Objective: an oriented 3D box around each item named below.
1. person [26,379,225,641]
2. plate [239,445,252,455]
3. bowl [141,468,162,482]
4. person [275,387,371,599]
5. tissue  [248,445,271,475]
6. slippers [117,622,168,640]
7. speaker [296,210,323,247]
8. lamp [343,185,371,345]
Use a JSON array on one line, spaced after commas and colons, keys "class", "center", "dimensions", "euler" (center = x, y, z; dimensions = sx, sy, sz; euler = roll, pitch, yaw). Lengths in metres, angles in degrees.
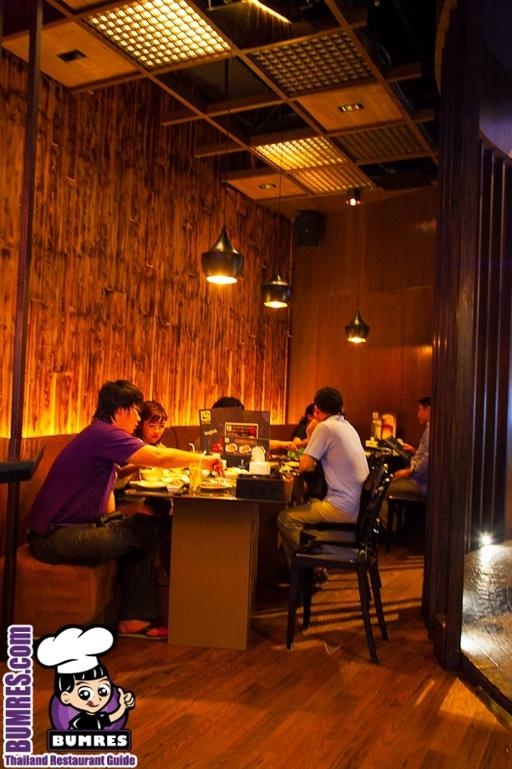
[{"class": "person", "center": [-0.766, 0.611, 3.339], "dimensions": [1.178, 1.877, 0.723], "euler": [0, -9, -8]}, {"class": "plate", "center": [-0.064, 0.409, 3.475], "dimensions": [0.059, 0.073, 0.024], "euler": [5, 4, 25]}, {"class": "bowl", "center": [-0.545, 0.467, 2.853], "dimensions": [0.071, 0.050, 0.075], "euler": [-1, -5, 0]}, {"class": "person", "center": [0.390, 0.611, 3.368], "dimensions": [0.473, 1.174, 0.459], "euler": [0, -10, 30]}, {"class": "tissue ", "center": [0.017, 0.388, 2.851], "dimensions": [0.105, 0.237, 0.124], "euler": [0, -6, 8]}, {"class": "slippers", "center": [-0.564, 1.212, 2.747], "dimensions": [0.158, 0.068, 0.113], "euler": [1, -12, 5]}, {"class": "speaker", "center": [0.730, -2.043, 7.540], "dimensions": [0.363, 0.648, 0.396], "euler": [0, -4, 10]}, {"class": "lamp", "center": [1.216, -1.399, 6.626], "dimensions": [0.261, 1.824, 1.285], "euler": [0, -5, 10]}]
